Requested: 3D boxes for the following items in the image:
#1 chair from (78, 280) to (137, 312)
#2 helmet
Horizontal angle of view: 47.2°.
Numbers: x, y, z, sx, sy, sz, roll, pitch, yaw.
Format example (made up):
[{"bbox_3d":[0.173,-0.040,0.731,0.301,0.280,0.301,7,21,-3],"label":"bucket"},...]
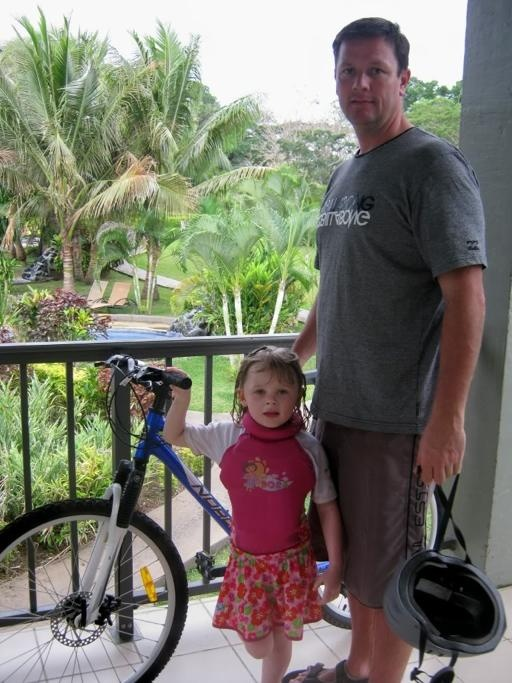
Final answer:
[{"bbox_3d":[-4.851,-1.495,19.193,1.003,0.686,1.782,2,14,10],"label":"chair"},{"bbox_3d":[0.348,0.533,1.195,0.233,0.102,0.192,33,47,27],"label":"helmet"}]
